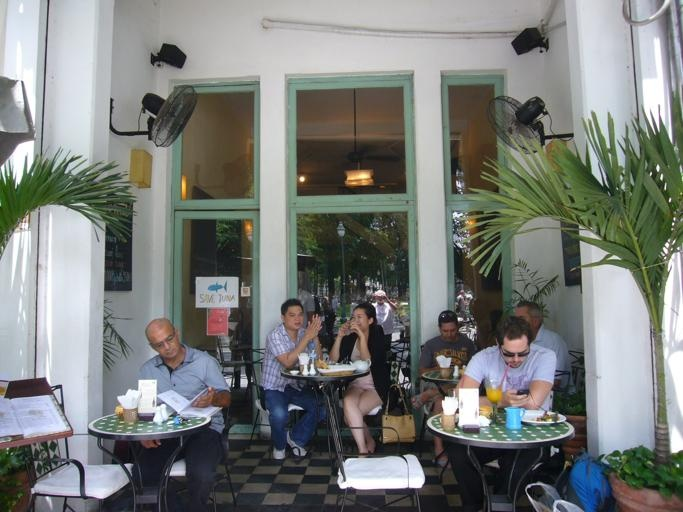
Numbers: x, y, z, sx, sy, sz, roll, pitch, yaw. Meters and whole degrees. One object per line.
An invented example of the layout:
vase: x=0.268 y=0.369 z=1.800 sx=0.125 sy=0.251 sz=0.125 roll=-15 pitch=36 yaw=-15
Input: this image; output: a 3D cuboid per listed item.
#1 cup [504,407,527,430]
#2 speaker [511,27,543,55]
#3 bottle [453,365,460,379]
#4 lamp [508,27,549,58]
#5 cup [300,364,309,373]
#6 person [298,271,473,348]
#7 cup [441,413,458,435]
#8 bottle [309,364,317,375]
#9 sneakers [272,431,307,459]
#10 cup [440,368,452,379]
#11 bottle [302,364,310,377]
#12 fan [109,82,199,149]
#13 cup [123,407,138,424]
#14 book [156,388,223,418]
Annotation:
cup: x=1.115 y=1.036 z=3.582 sx=0.122 sy=0.135 sz=0.099 roll=2 pitch=-5 yaw=-18
speaker: x=1.955 y=-2.261 z=5.892 sx=0.208 sy=0.169 sz=0.116 roll=-33 pitch=-32 yaw=32
bottle: x=1.036 y=1.043 z=5.006 sx=0.075 sy=0.095 sz=0.078 roll=1 pitch=-6 yaw=0
lamp: x=1.984 y=-2.259 z=5.917 sx=0.156 sy=0.163 sz=0.286 roll=-37 pitch=22 yaw=-13
cup: x=-0.317 y=0.986 z=4.888 sx=0.063 sy=0.068 sz=0.065 roll=1 pitch=-9 yaw=0
person: x=0.534 y=0.576 z=5.829 sx=1.757 sy=0.608 sz=0.600 roll=13 pitch=5 yaw=8
cup: x=0.702 y=1.096 z=3.659 sx=0.079 sy=0.089 sz=0.080 roll=-1 pitch=-2 yaw=0
bottle: x=-0.245 y=0.990 z=4.848 sx=0.061 sy=0.096 sz=0.067 roll=1 pitch=-12 yaw=0
sneakers: x=-0.513 y=1.817 z=5.305 sx=0.146 sy=0.204 sz=0.432 roll=12 pitch=-23 yaw=-37
cup: x=0.933 y=1.043 z=4.988 sx=0.085 sy=0.071 sz=0.068 roll=-1 pitch=-2 yaw=13
bottle: x=-0.311 y=1.009 z=4.868 sx=0.060 sy=0.131 sz=0.059 roll=-1 pitch=-6 yaw=0
fan: x=-1.743 y=-1.288 z=5.127 sx=0.698 sy=0.536 sz=0.597 roll=4 pitch=11 yaw=-2
cup: x=-1.395 y=1.065 z=3.732 sx=0.086 sy=0.095 sz=0.089 roll=1 pitch=-9 yaw=0
book: x=-1.044 y=1.048 z=3.898 sx=0.412 sy=0.226 sz=0.322 roll=-3 pitch=-2 yaw=-16
